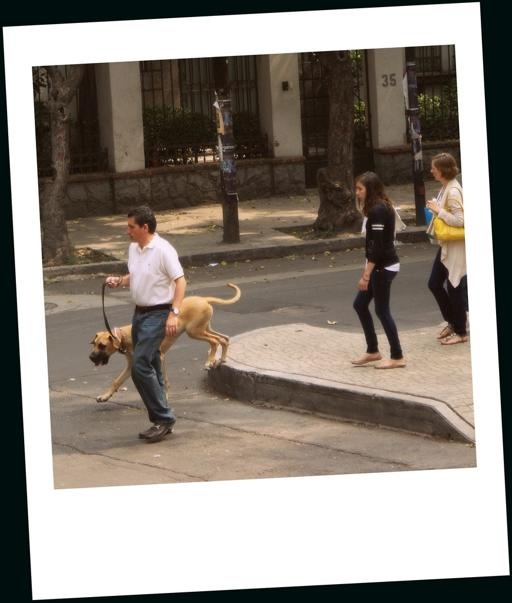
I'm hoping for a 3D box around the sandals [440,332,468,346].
[{"bbox_3d":[1.954,0.366,9.184,0.213,0.080,0.125,0,2,1],"label":"sandals"}]

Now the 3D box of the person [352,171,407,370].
[{"bbox_3d":[1.083,-0.311,8.550,0.481,1.779,0.746,-4,11,9],"label":"person"}]

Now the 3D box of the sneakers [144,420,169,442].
[{"bbox_3d":[-0.793,1.054,7.480,0.091,0.117,0.247,1,3,34],"label":"sneakers"}]

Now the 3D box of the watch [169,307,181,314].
[{"bbox_3d":[-0.652,0.063,7.335,0.045,0.046,0.046,2,-5,2],"label":"watch"}]

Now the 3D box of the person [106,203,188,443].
[{"bbox_3d":[-0.859,0.168,7.511,0.615,1.870,0.618,-7,11,-5],"label":"person"}]

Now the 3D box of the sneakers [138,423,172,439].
[{"bbox_3d":[-0.813,1.041,7.459,0.225,0.098,0.121,2,-3,-37],"label":"sneakers"}]

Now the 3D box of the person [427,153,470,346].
[{"bbox_3d":[1.857,-0.521,9.084,0.379,1.873,0.666,-3,11,12],"label":"person"}]
